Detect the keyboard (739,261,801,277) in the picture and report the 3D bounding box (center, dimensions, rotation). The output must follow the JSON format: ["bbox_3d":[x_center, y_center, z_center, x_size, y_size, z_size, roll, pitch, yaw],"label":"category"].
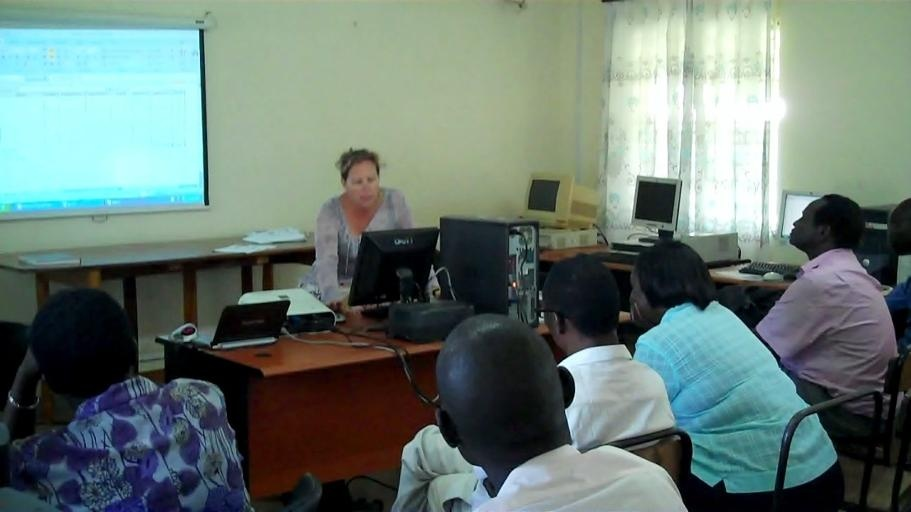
[{"bbox_3d":[2.450,0.100,5.284,0.277,0.062,0.191,-6,-5,-42],"label":"keyboard"}]

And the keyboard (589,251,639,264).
[{"bbox_3d":[1.331,0.012,5.593,0.326,0.071,0.289,-3,4,-35],"label":"keyboard"}]

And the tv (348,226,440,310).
[{"bbox_3d":[-0.346,0.082,3.907,0.529,0.431,0.189,-3,27,-24],"label":"tv"}]

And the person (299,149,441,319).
[{"bbox_3d":[-0.580,-0.153,4.402,1.111,1.045,1.045,5,13,25],"label":"person"}]

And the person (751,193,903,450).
[{"bbox_3d":[2.035,0.424,4.057,0.944,1.569,0.711,13,20,40],"label":"person"}]

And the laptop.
[{"bbox_3d":[-1.158,0.345,3.651,0.489,0.244,0.478,7,7,21],"label":"laptop"}]

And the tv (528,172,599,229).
[{"bbox_3d":[1.006,-0.507,6.420,0.645,0.545,0.571,-7,11,-43],"label":"tv"}]

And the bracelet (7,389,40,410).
[{"bbox_3d":[-1.840,0.622,2.871,0.103,0.027,0.102,4,5,11],"label":"bracelet"}]

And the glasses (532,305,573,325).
[{"bbox_3d":[0.415,0.250,2.857,0.096,0.046,0.071,9,6,41],"label":"glasses"}]
